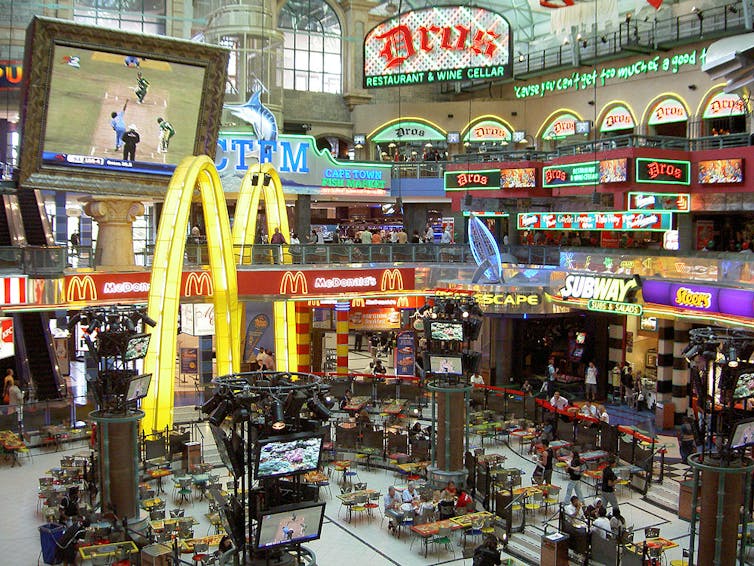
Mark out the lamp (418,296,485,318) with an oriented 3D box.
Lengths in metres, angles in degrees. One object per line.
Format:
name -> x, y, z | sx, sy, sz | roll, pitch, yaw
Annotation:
lamp -> 2.148, 0.632, 18.641 | 1.008, 0.516, 1.327 | 0, 3, 8

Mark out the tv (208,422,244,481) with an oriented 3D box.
tv -> -2.174, 2.432, 10.105 | 0.461, 0.924, 0.845 | -1, -3, -11
